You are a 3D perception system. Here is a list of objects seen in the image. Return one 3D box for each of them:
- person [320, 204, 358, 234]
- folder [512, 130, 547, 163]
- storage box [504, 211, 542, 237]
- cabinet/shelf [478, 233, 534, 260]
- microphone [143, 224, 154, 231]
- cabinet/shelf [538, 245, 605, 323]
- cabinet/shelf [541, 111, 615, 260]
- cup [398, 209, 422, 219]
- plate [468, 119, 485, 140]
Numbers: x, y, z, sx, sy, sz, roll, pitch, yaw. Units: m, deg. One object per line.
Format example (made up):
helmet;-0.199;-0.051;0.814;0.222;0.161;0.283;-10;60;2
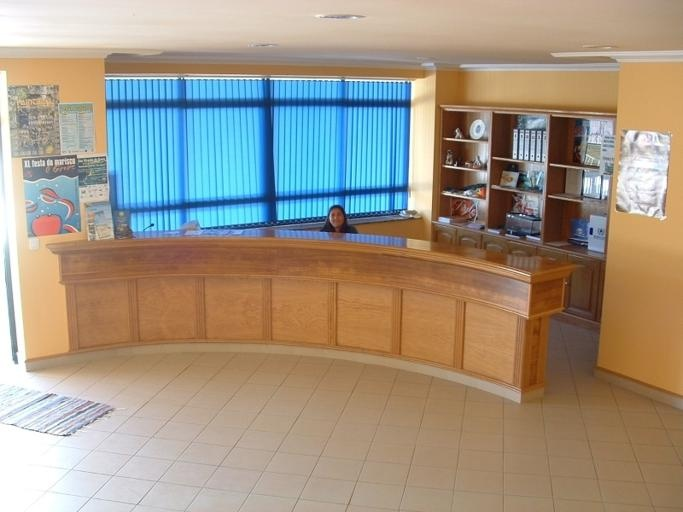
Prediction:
person;-0.016;-0.468;7.243;0.852;0.454;0.401;0;0;3
folder;2.796;-1.626;7.538;0.305;0.461;0.537;-7;16;-27
storage box;2.751;-0.471;7.766;0.349;0.384;0.622;-14;21;-39
cabinet/shelf;2.525;-0.162;7.844;0.081;0.256;0.931;-14;19;-33
microphone;-2.732;-0.411;7.197;0.038;0.117;0.122;17;4;8
cabinet/shelf;3.339;0.422;7.330;0.464;0.966;1.204;-7;14;-24
cabinet/shelf;3.334;-1.101;7.002;0.498;1.826;0.980;16;-13;-43
cup;1.233;-0.739;9.155;0.395;0.139;0.254;-1;15;4
plate;2.238;-2.088;8.389;0.186;0.315;0.348;-2;16;1
